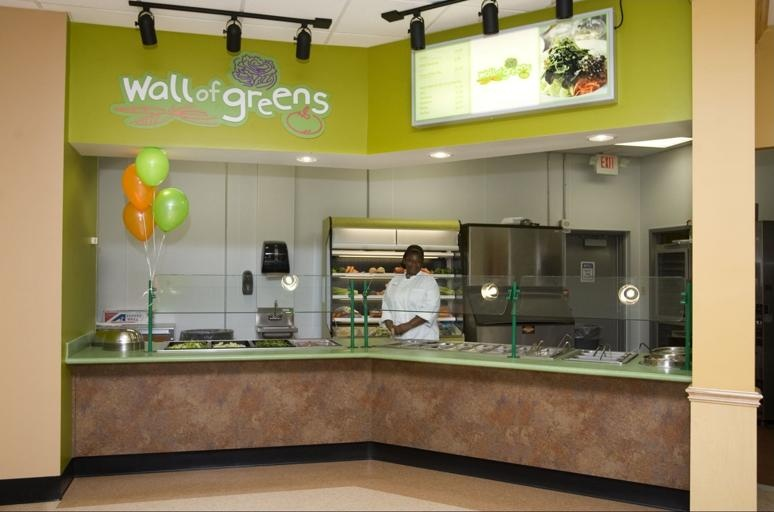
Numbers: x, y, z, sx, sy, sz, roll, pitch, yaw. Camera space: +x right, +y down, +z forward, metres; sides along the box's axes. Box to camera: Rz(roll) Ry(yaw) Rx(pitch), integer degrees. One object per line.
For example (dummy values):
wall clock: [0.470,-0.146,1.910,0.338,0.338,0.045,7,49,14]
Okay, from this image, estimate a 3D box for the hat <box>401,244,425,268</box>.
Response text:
hat: [0.291,-0.008,6.730,0.210,0.218,0.278,6,-12,1]

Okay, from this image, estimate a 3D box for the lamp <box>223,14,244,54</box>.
lamp: [-1.442,-2.069,5.659,0.149,0.326,0.196,-3,8,-15]

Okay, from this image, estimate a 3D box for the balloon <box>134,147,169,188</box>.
balloon: [-2.397,-0.893,6.100,0.375,0.430,0.361,2,-9,-28]

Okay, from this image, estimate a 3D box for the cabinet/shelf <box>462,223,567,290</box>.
cabinet/shelf: [1.721,-0.099,8.077,1.528,0.930,0.776,1,-6,-13]

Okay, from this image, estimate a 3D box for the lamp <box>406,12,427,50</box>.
lamp: [0.284,-2.107,5.700,0.144,0.321,0.231,0,7,2]

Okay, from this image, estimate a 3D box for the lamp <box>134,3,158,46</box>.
lamp: [-2.226,-2.099,5.580,0.176,0.354,0.281,-4,8,-21]

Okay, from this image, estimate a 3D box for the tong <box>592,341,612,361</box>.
tong: [2.011,0.900,5.722,0.141,0.173,0.131,2,-26,38]

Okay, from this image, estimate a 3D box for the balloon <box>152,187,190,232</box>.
balloon: [-2.241,-0.471,6.286,0.411,0.462,0.375,5,-2,-6]

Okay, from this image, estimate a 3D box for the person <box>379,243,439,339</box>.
person: [0.249,0.370,6.403,0.612,0.895,0.702,-1,7,1]

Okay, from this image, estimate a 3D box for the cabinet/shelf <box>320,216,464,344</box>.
cabinet/shelf: [0.018,0.279,7.025,1.476,1.270,0.532,1,-12,-9]
